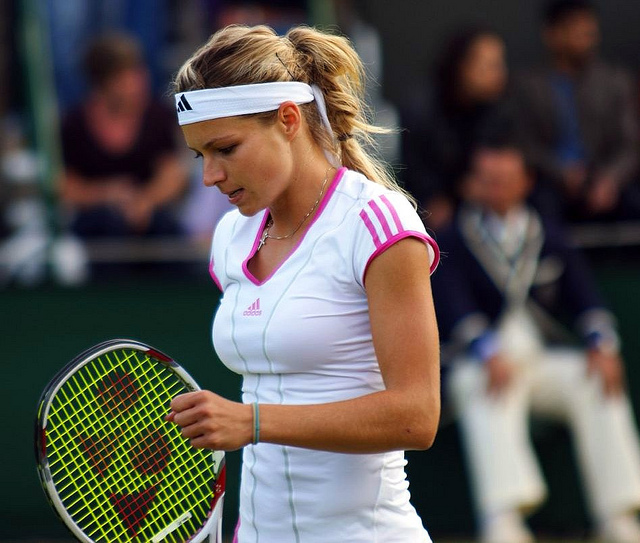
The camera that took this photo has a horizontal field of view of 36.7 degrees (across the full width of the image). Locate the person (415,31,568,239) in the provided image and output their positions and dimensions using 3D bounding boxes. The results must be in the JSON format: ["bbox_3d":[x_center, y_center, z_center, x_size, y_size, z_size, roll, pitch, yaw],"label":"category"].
[{"bbox_3d":[0.733,-0.675,4.584,0.655,1.013,0.308,-2,2,22],"label":"person"}]

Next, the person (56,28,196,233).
[{"bbox_3d":[-0.962,-0.779,5.113,0.748,1.288,0.893,-8,20,-13],"label":"person"}]

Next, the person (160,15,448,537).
[{"bbox_3d":[-0.076,0.063,2.960,0.755,1.440,1.089,-2,31,-9],"label":"person"}]
